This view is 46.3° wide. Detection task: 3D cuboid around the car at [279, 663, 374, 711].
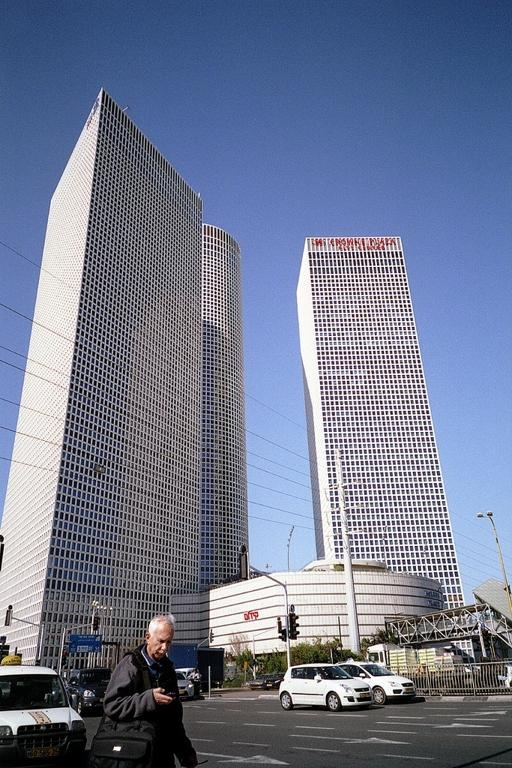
[{"bbox_3d":[2.361,10.590,20.966,1.144,1.430,3.590,11,-27,-34],"label":"car"}]
